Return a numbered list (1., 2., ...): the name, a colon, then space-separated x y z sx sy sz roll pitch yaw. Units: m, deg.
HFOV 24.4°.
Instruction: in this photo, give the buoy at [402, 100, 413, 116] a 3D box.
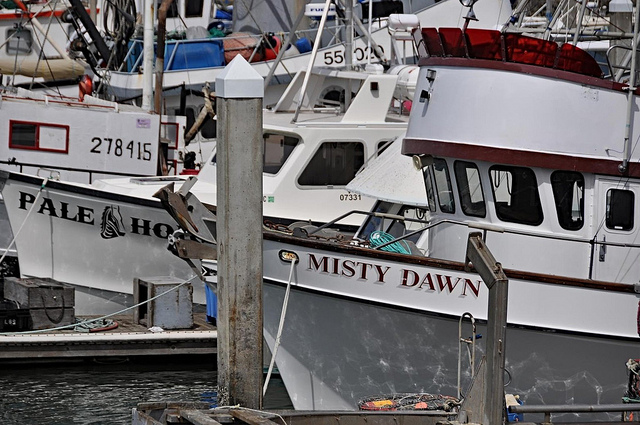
1. buoy: 1.708 -2.070 29.351 0.323 0.300 0.228 -3 3 -9
